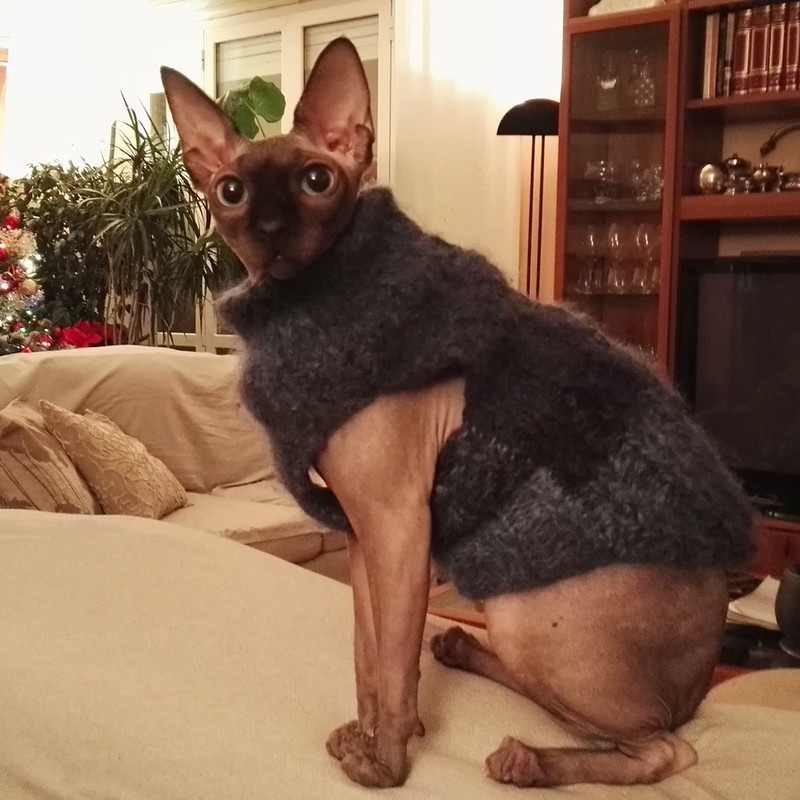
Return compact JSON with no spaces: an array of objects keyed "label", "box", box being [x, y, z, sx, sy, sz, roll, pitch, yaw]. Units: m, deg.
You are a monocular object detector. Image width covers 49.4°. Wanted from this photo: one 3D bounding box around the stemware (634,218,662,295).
[{"label":"stemware","box":[1.020,-0.587,3.604,0.110,0.304,0.119,-15,24,-21]}]
